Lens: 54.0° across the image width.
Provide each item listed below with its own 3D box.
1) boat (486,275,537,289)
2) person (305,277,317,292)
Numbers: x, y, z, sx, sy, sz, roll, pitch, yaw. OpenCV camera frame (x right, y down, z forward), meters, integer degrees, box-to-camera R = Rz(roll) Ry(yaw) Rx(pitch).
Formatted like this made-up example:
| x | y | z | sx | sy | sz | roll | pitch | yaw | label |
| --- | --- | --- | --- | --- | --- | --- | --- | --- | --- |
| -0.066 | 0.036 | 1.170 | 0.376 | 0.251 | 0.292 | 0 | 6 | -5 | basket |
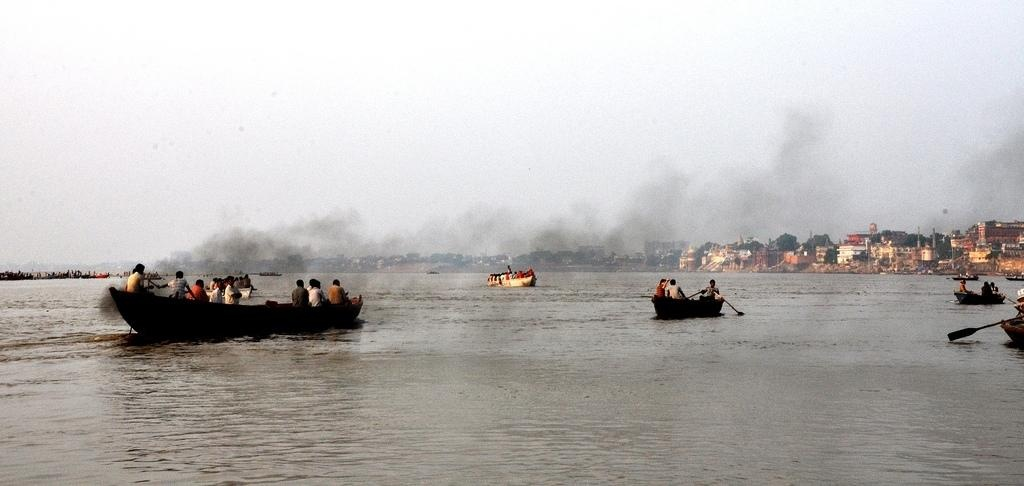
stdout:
| x | y | z | sx | sy | sz | roll | pitch | yaw | label |
| --- | --- | --- | --- | --- | --- | --- | --- | --- | --- |
| -0.464 | 7.398 | 191.005 | 2.949 | 2.360 | 10.969 | -1 | -2 | -38 | boat |
| -14.773 | 3.063 | 74.962 | 0.874 | 0.860 | 1.070 | 0 | -4 | -37 | person |
